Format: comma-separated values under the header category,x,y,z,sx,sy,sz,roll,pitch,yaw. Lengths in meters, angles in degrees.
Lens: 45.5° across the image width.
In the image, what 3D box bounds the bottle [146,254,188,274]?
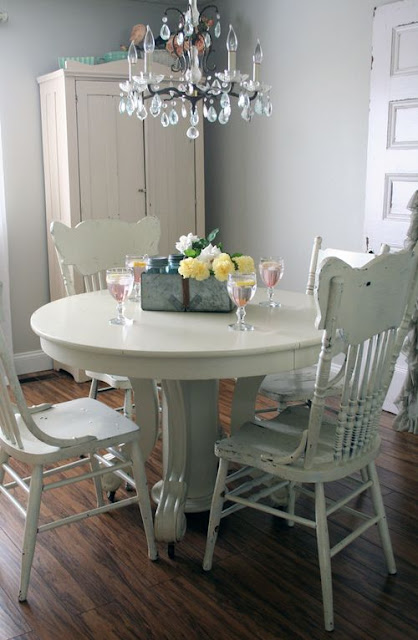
category,x,y,z,sx,sy,sz,roll,pitch,yaw
bottle,-0.142,-0.190,1.649,0.085,0.082,0.084,-1,11,-8

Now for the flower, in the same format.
category,x,y,z,sx,sy,sz,roll,pitch,yaw
flower,0.007,-0.163,1.577,0.207,0.137,0.208,-2,45,-14

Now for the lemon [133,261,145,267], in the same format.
category,x,y,z,sx,sy,sz,roll,pitch,yaw
lemon,-0.243,-0.197,1.748,0.025,0.015,0.025,6,17,12
